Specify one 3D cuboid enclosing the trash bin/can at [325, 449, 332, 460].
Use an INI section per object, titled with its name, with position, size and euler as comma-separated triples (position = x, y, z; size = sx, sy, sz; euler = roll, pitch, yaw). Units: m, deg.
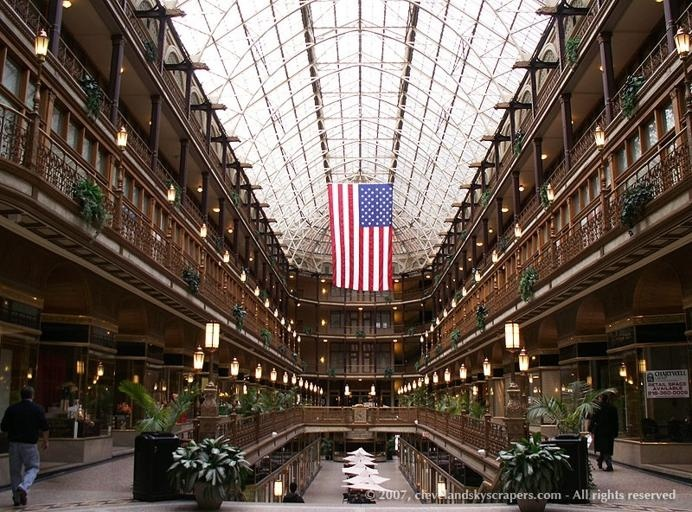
[trash bin/can]
position = -1.836, 20.354, 57.223
size = 0.768, 1.042, 0.387
euler = 0, -20, -4
